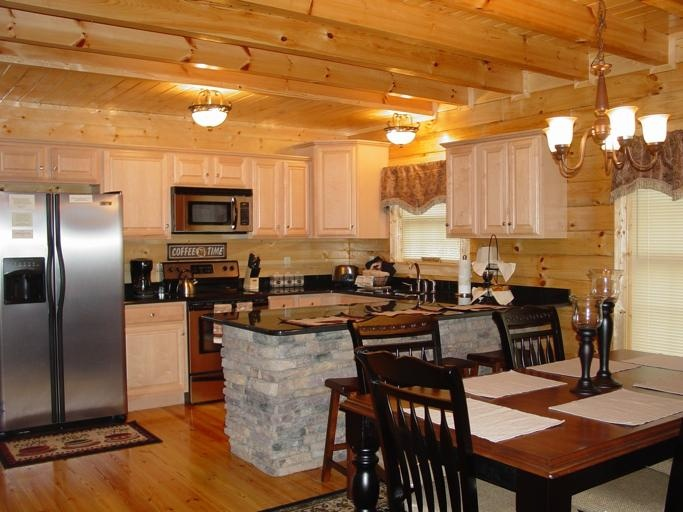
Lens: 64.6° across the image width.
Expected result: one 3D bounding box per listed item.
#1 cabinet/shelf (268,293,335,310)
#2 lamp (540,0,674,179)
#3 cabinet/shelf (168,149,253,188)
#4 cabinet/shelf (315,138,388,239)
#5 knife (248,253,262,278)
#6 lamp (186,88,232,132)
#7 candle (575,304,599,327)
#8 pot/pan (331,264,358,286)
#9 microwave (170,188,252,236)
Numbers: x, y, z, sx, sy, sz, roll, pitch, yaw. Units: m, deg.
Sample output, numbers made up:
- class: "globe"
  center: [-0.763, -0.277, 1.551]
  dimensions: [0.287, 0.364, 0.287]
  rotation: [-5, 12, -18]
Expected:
- class: "cabinet/shelf"
  center: [-0.425, 0.482, 5.982]
  dimensions: [0.837, 0.153, 0.109]
  rotation: [-3, 4, -35]
- class: "lamp"
  center: [1.668, -1.117, 3.305]
  dimensions: [0.544, 1.320, 1.558]
  rotation: [1, 4, 28]
- class: "cabinet/shelf"
  center: [-1.453, -0.935, 5.852]
  dimensions: [0.174, 0.353, 1.078]
  rotation: [14, 15, 35]
- class: "cabinet/shelf"
  center: [0.109, -0.788, 6.454]
  dimensions: [0.933, 1.122, 0.242]
  rotation: [-1, 5, -3]
- class: "knife"
  center: [-0.986, 0.103, 6.092]
  dimensions: [0.123, 0.270, 0.190]
  rotation: [-2, 4, -9]
- class: "lamp"
  center: [-1.203, -1.368, 5.046]
  dimensions: [0.548, 0.330, 0.426]
  rotation: [-1, 0, 1]
- class: "candle"
  center: [1.144, 0.270, 2.520]
  dimensions: [0.117, 0.128, 0.072]
  rotation: [1, 5, 20]
- class: "pot/pan"
  center: [0.051, 0.234, 6.688]
  dimensions: [0.335, 0.194, 0.322]
  rotation: [-3, 5, -35]
- class: "microwave"
  center: [-1.702, -0.469, 6.009]
  dimensions: [0.784, 0.494, 1.132]
  rotation: [2, 4, 29]
